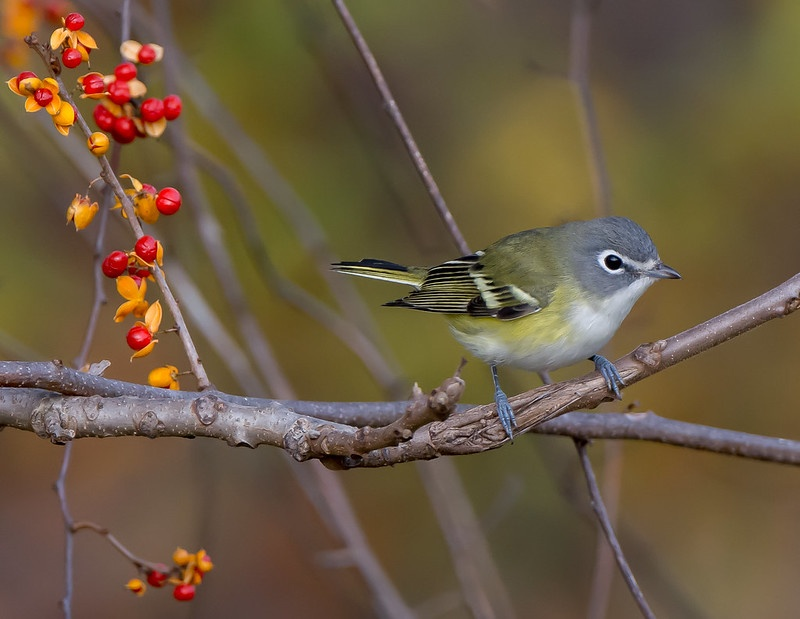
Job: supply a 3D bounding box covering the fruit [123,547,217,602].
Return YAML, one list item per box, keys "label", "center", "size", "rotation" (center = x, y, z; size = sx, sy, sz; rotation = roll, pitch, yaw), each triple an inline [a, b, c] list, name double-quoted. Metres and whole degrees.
- label: "fruit"
  center: [-0.894, 1.062, 3.431]
  size: [0.368, 0.216, 0.246]
  rotation: [-4, -75, -7]

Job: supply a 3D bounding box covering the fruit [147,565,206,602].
- label: "fruit"
  center: [-0.895, 1.085, 3.458]
  size: [0.186, 0.095, 0.207]
  rotation: [-6, -58, -9]
